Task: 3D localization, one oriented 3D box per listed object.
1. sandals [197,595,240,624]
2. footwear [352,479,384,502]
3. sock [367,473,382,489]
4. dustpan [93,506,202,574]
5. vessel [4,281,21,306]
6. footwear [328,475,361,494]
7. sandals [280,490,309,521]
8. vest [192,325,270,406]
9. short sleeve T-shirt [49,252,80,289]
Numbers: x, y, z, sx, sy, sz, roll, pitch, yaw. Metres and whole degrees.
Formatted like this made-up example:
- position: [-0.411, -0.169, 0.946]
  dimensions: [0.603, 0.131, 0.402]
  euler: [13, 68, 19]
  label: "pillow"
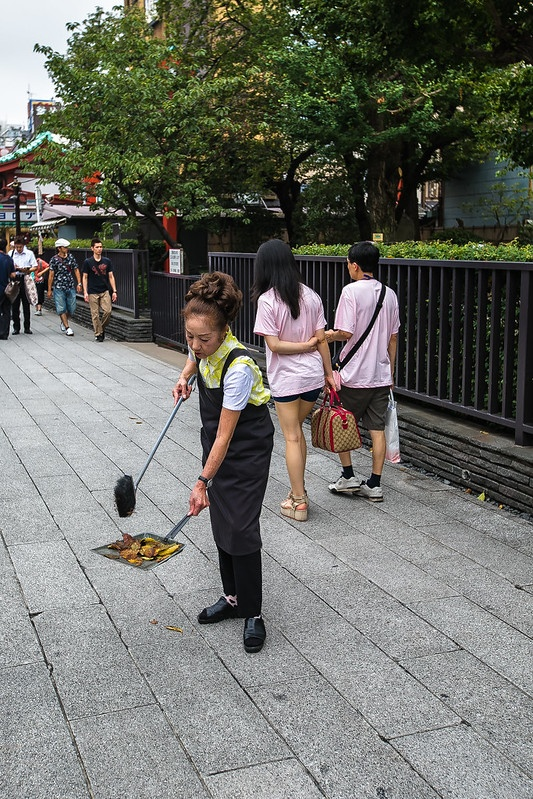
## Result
- position: [-0.214, 0.964, 3.001]
  dimensions: [0.253, 0.124, 0.091]
  euler: [3, 1, -34]
  label: "sandals"
- position: [0.777, 0.676, 4.848]
  dimensions: [0.084, 0.106, 0.237]
  euler: [-5, 13, -23]
  label: "footwear"
- position: [0.801, 0.599, 4.739]
  dimensions: [0.057, 0.128, 0.128]
  euler: [1, 14, -6]
  label: "sock"
- position: [-0.578, 0.709, 3.060]
  dimensions: [0.300, 0.089, 0.564]
  euler: [2, 3, 29]
  label: "dustpan"
- position: [-5.304, -2.231, 13.393]
  dimensions: [0.230, 0.438, 0.348]
  euler: [0, 3, -7]
  label: "vessel"
- position: [0.610, 0.658, 4.970]
  dimensions: [0.266, 0.130, 0.106]
  euler: [3, 5, 34]
  label: "footwear"
- position: [0.184, 0.731, 4.478]
  dimensions: [0.119, 0.169, 0.229]
  euler: [-1, 11, -22]
  label: "sandals"
- position: [-0.102, -0.124, 2.590]
  dimensions: [0.271, 0.306, 0.310]
  euler: [-2, 16, -29]
  label: "vest"
- position: [-4.482, -2.789, 14.215]
  dimensions: [0.552, 0.750, 0.536]
  euler: [-1, 3, -27]
  label: "short sleeve T-shirt"
